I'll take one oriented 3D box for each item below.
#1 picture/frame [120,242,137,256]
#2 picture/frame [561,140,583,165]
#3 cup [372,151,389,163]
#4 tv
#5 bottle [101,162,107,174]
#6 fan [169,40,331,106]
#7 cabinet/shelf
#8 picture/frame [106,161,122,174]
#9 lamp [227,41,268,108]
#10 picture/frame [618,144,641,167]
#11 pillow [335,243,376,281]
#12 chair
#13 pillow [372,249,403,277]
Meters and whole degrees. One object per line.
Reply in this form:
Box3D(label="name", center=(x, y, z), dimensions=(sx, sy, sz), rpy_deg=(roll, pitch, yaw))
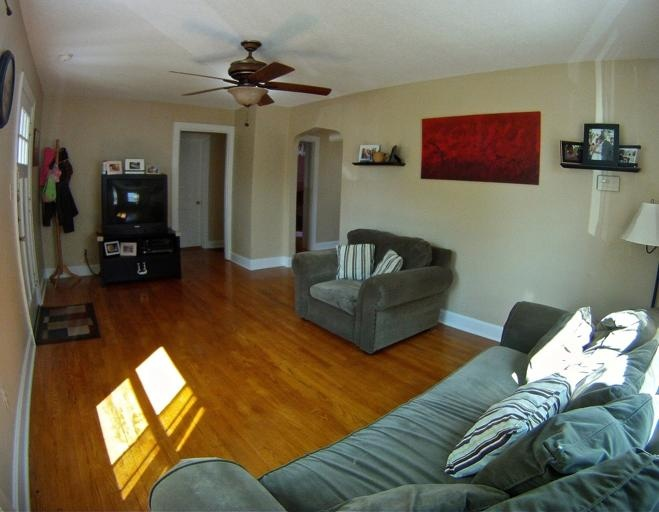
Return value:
Box3D(label="picture/frame", center=(-2.574, -0.093, 5.921), dimensions=(0.177, 0.168, 0.175), rpy_deg=(-18, 16, -34))
Box3D(label="picture/frame", center=(2.045, -0.865, 3.870), dimensions=(0.227, 0.213, 0.024), rpy_deg=(2, 3, 16))
Box3D(label="cup", center=(0.574, -1.100, 5.158), dimensions=(0.163, 0.111, 0.129), rpy_deg=(-8, 18, -24))
Box3D(label="tv", center=(-2.694, -0.712, 6.221), dimensions=(0.861, 0.803, 0.474), rpy_deg=(-9, 20, -43))
Box3D(label="bottle", center=(-2.948, -1.148, 6.020), dimensions=(0.081, 0.158, 0.517), rpy_deg=(-6, 14, -26))
Box3D(label="fan", center=(-0.757, -1.740, 4.355), dimensions=(0.753, 0.321, 0.818), rpy_deg=(4, -2, -25))
Box3D(label="cabinet/shelf", center=(-2.532, 0.023, 6.156), dimensions=(0.989, 0.624, 0.618), rpy_deg=(-5, 8, -27))
Box3D(label="picture/frame", center=(-2.854, -1.156, 6.085), dimensions=(0.200, 0.191, 0.108), rpy_deg=(10, 4, -24))
Box3D(label="lamp", center=(-0.698, -1.523, 3.894), dimensions=(0.472, 0.318, 0.475), rpy_deg=(2, 7, 1))
Box3D(label="picture/frame", center=(2.357, -0.787, 3.622), dimensions=(0.151, 0.190, 0.205), rpy_deg=(-9, 15, -39))
Box3D(label="pillow", center=(0.267, 0.060, 4.839), dimensions=(0.407, 0.403, 0.141), rpy_deg=(0, 17, -2))
Box3D(label="chair", center=(0.389, 0.258, 4.682), dimensions=(1.063, 0.941, 1.363), rpy_deg=(-9, 16, -38))
Box3D(label="pillow", center=(0.581, 0.093, 4.574), dimensions=(0.082, 0.261, 0.275), rpy_deg=(34, -3, -23))
